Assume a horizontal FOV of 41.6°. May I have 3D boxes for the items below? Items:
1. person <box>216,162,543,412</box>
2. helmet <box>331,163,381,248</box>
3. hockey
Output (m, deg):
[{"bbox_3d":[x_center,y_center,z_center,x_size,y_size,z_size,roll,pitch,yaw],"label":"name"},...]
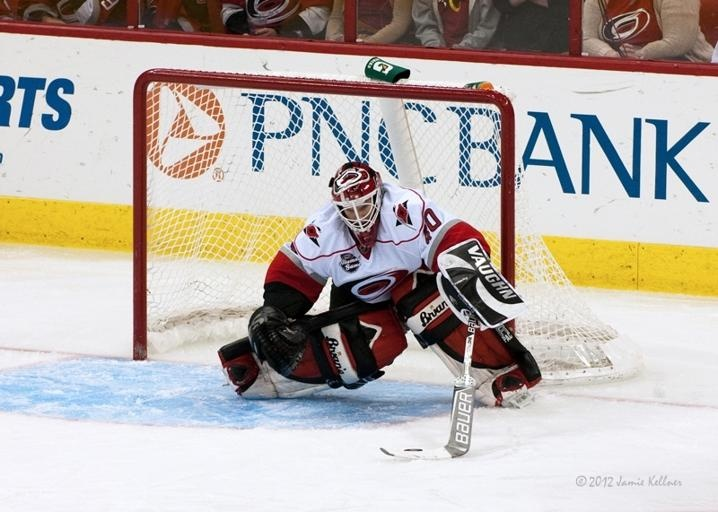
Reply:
[{"bbox_3d":[0.059,0.188,4.660,1.923,1.231,1.091,-5,2,1],"label":"person"},{"bbox_3d":[-0.008,-0.210,4.130,0.236,0.293,0.294,-11,45,15],"label":"helmet"},{"bbox_3d":[0.350,0.538,3.863,0.274,0.537,0.485,7,8,42],"label":"hockey"}]
